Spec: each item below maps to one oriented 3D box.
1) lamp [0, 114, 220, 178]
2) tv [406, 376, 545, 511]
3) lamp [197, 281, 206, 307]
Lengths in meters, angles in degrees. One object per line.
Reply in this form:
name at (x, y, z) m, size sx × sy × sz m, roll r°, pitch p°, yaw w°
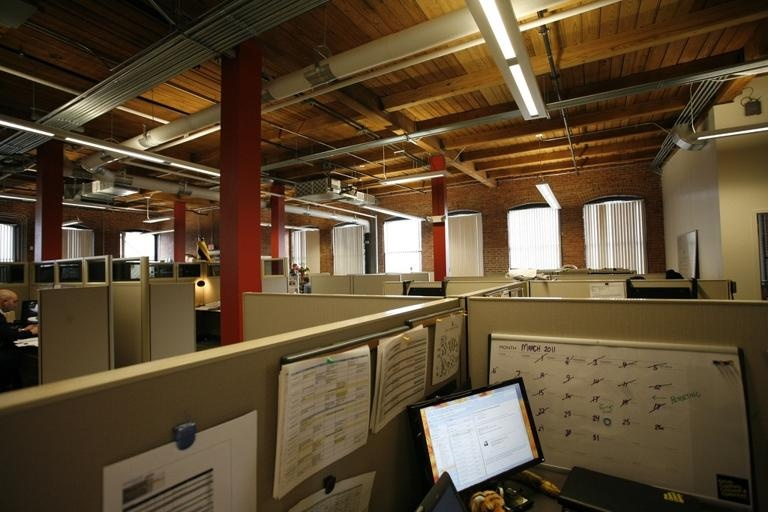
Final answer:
lamp at (-4.016, -1.347, 6.532) m, size 2.572 × 0.598 × 2.378 m, roll 5°, pitch 12°, yaw 38°
tv at (0.475, 1.029, 2.634) m, size 0.812 × 0.499 × 0.214 m, roll -7°, pitch -6°, yaw -22°
lamp at (-3.041, 0.586, 8.215) m, size 0.185 × 0.430 × 0.153 m, roll -7°, pitch 12°, yaw -18°
